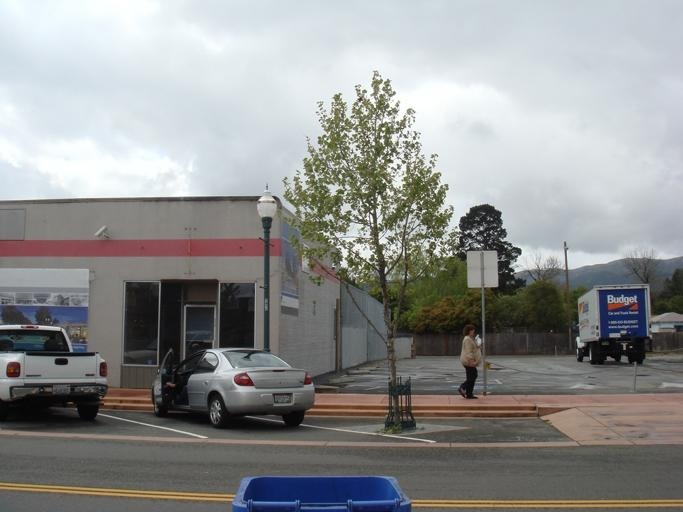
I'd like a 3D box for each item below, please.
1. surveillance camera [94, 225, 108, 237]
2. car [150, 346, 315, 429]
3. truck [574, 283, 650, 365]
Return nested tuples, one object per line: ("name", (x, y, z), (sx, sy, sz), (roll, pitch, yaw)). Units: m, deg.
("surveillance camera", (-7.790, -0.815, 23.305), (0.441, 0.396, 0.241), (-3, -8, 21))
("car", (-2.711, 3.014, 16.749), (1.987, 1.071, 2.733), (7, -8, -39))
("truck", (13.447, 3.472, 35.873), (2.361, 3.754, 4.638), (-1, -8, 7))
